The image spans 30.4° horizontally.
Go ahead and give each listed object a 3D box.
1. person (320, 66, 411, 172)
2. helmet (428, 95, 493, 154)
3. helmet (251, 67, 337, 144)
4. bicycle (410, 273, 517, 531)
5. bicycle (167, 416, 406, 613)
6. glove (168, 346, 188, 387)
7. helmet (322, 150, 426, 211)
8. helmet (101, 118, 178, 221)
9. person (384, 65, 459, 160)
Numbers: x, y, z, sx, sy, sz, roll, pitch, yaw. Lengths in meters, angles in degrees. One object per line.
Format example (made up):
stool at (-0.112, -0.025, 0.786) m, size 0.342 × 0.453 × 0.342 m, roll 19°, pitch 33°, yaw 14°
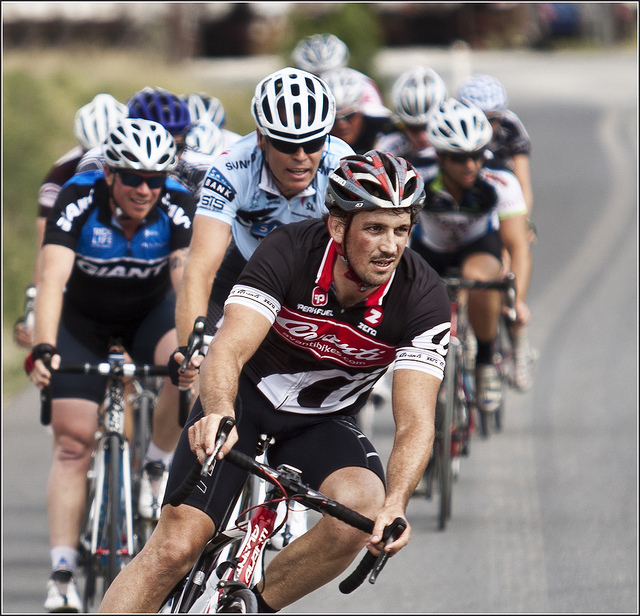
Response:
person at (0.358, -1.921, 11.372) m, size 0.698 × 0.950 × 1.823 m, roll -20°, pitch 18°, yaw -4°
helmet at (1.015, -1.316, 8.543) m, size 0.456 × 0.305 × 0.418 m, roll 7°, pitch 24°, yaw 6°
helmet at (-0.148, -1.129, 6.612) m, size 0.457 × 0.357 × 0.410 m, roll 2°, pitch 24°, yaw -4°
bicycle at (1.013, 0.645, 8.567) m, size 0.522 × 1.897 × 1.128 m, roll 12°, pitch 24°, yaw 19°
bicycle at (-0.341, 1.095, 5.423) m, size 0.680 × 0.882 × 1.350 m, roll 36°, pitch -16°, yaw -10°
glove at (-0.792, 0.318, 6.498) m, size 0.075 × 0.215 × 0.155 m, roll 16°, pitch 12°, yaw 32°
helmet at (0.273, -0.607, 5.575) m, size 0.452 × 0.292 × 0.639 m, roll -3°, pitch 9°, yaw -10°
helmet at (-1.142, -0.890, 7.104) m, size 0.429 × 0.548 × 0.571 m, roll 2°, pitch 34°, yaw -25°
person at (0.864, -1.529, 10.196) m, size 0.648 × 0.631 × 1.238 m, roll 3°, pitch 52°, yaw 1°
